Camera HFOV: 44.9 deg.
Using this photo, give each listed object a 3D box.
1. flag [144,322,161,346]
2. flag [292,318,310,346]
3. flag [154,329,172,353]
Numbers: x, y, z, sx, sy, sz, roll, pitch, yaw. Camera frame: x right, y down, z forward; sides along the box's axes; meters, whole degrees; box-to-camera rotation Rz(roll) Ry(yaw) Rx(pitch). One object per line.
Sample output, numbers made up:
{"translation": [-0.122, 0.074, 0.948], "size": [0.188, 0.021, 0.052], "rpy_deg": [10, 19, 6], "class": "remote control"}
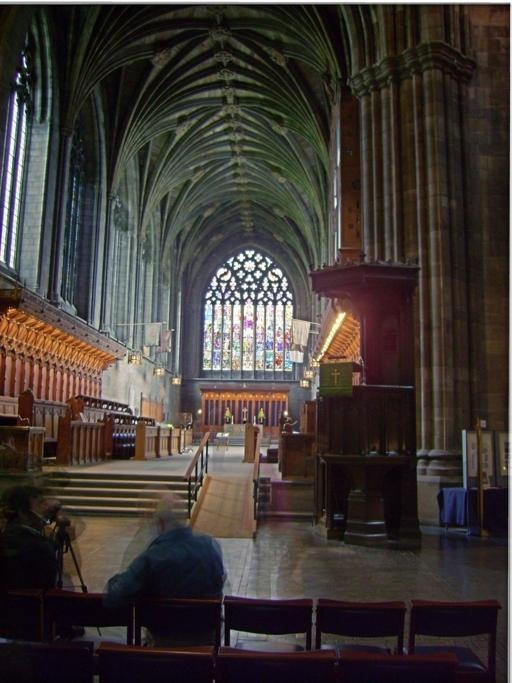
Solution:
{"translation": [-4.447, -0.337, 26.731], "size": [0.910, 1.320, 0.124], "rpy_deg": [-1, -21, -1], "class": "flag"}
{"translation": [1.816, -0.457, 26.069], "size": [0.670, 1.121, 1.970], "rpy_deg": [1, -9, 2], "class": "flag"}
{"translation": [-4.147, -0.061, 27.555], "size": [1.015, 1.391, 0.152], "rpy_deg": [-6, -34, 10], "class": "flag"}
